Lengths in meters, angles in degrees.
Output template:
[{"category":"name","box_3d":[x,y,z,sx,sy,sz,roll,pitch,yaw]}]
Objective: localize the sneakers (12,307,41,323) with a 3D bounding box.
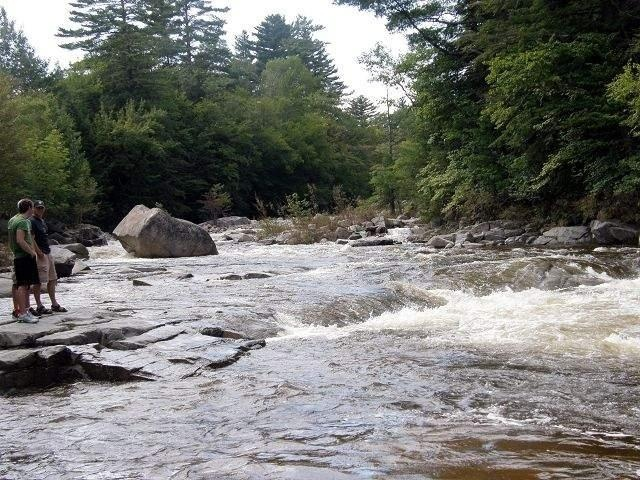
[{"category":"sneakers","box_3d":[-4.952,1.224,10.826,0.604,0.237,0.203,4,1,-3]}]

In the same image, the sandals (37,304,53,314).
[{"category":"sandals","box_3d":[-4.847,1.184,11.386,0.342,0.135,0.110,1,2,-6]}]

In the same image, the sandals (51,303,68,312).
[{"category":"sandals","box_3d":[-4.590,1.185,11.523,0.338,0.126,0.114,1,0,-1]}]
